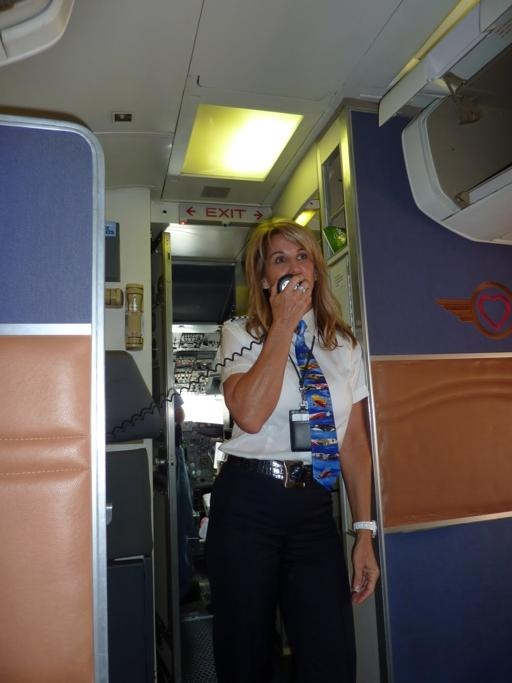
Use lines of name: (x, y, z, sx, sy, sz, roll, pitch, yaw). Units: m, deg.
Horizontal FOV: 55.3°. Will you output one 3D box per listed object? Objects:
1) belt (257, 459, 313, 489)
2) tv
belt: (0.062, 0.293, 1.088, 0.124, 0.058, 0.026, 0, -4, 1)
tv: (-0.553, -0.543, 5.133, 0.548, 0.642, 0.227, -1, 32, -5)
